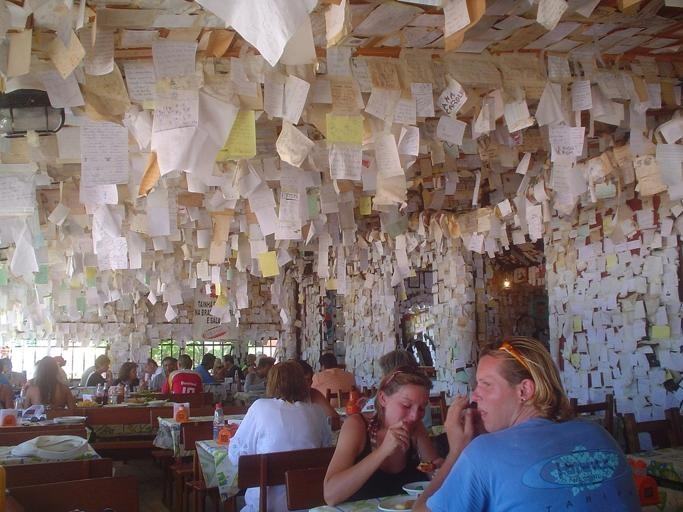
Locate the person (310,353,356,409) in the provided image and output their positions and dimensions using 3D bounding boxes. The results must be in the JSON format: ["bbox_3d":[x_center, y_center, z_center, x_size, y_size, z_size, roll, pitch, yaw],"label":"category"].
[{"bbox_3d":[-0.091,1.287,5.490,0.397,0.996,0.529,3,-13,-14],"label":"person"}]

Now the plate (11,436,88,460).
[{"bbox_3d":[-1.355,0.898,2.454,0.312,0.084,0.223,-3,-9,-2],"label":"plate"}]

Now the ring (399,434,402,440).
[{"bbox_3d":[0.222,0.675,1.955,0.014,0.010,0.008,0,1,6],"label":"ring"}]
